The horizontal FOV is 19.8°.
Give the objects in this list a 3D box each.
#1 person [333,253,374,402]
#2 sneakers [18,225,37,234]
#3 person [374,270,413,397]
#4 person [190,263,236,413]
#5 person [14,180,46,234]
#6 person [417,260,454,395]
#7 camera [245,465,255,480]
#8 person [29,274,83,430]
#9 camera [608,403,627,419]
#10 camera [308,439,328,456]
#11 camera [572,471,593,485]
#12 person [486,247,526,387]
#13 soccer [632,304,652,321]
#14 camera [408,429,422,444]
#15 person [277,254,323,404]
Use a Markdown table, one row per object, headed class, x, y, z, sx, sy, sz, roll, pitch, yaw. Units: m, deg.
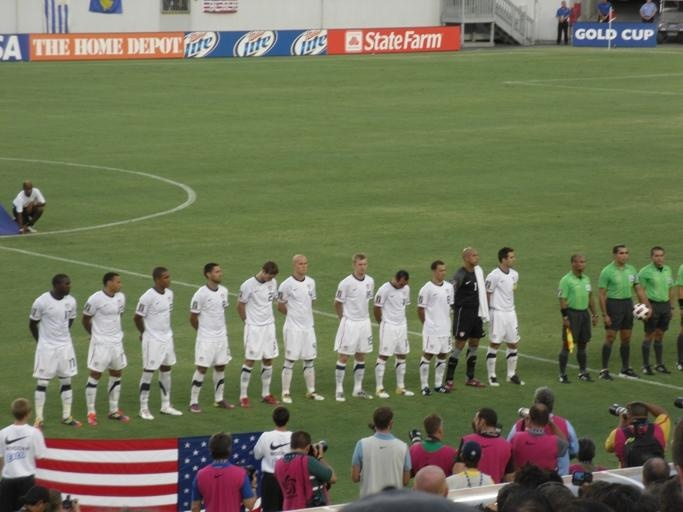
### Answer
| class | x | y | z | sx | sy | sz | roll | pitch | yaw |
| --- | --- | --- | --- | --- | --- | --- | --- | --- | --- |
| person | 0.435 | 1.884 | 55.426 | 1.141 | 4.025 | 1.065 | 1 | 19 | -14 |
| sneakers | -10.602 | -1.048 | 66.043 | 0.617 | 0.268 | 0.232 | -1 | 3 | 6 |
| person | 1.568 | 1.920 | 55.465 | 1.058 | 3.597 | 0.970 | -2 | 19 | -26 |
| person | -3.713 | 2.147 | 55.227 | 1.321 | 4.247 | 1.014 | -9 | 14 | -42 |
| person | -10.557 | -1.817 | 66.029 | 1.035 | 1.717 | 1.197 | -2 | 4 | -10 |
| person | 2.717 | 1.904 | 55.974 | 1.226 | 3.860 | 0.952 | -6 | 9 | -44 |
| camera | -2.341 | 5.361 | 49.896 | 0.237 | 0.420 | 0.228 | -8 | 22 | -7 |
| person | -7.904 | 2.267 | 54.084 | 1.364 | 4.253 | 1.104 | -9 | 24 | -38 |
| camera | 7.114 | 3.908 | 50.835 | 0.367 | 0.256 | 0.647 | -13 | 18 | -43 |
| camera | -0.549 | 4.771 | 50.200 | 0.303 | 0.152 | 0.437 | 8 | 23 | 17 |
| camera | 5.905 | 5.247 | 47.994 | 0.331 | 0.331 | 0.345 | -2 | 1 | 19 |
| person | 4.741 | 1.597 | 56.485 | 1.143 | 3.973 | 0.956 | -4 | 10 | -31 |
| soccer | 8.661 | 1.449 | 56.344 | 0.379 | 0.500 | 0.527 | 2 | 5 | 37 |
| camera | 1.940 | 4.513 | 50.844 | 0.330 | 0.436 | 0.427 | 0 | -13 | -9 |
| person | -1.212 | 1.920 | 55.592 | 1.406 | 4.161 | 0.803 | -2 | 6 | -26 |
